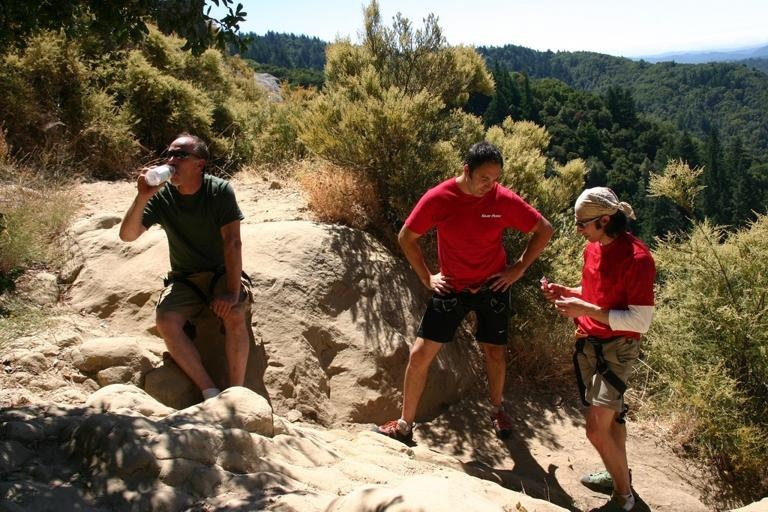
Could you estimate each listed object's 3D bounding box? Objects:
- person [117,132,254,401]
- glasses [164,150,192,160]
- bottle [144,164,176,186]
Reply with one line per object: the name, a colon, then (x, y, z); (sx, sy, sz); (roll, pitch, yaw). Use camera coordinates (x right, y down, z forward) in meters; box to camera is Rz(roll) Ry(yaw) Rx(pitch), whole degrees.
person: (-2.098, 0.024, 7.066); (1.404, 2.618, 0.794); (10, 14, 27)
glasses: (-2.282, -1.107, 6.995); (0.292, 0.114, 0.100); (9, 14, 17)
bottle: (-2.430, -0.900, 6.895); (0.229, 0.254, 0.388); (9, 13, 0)
